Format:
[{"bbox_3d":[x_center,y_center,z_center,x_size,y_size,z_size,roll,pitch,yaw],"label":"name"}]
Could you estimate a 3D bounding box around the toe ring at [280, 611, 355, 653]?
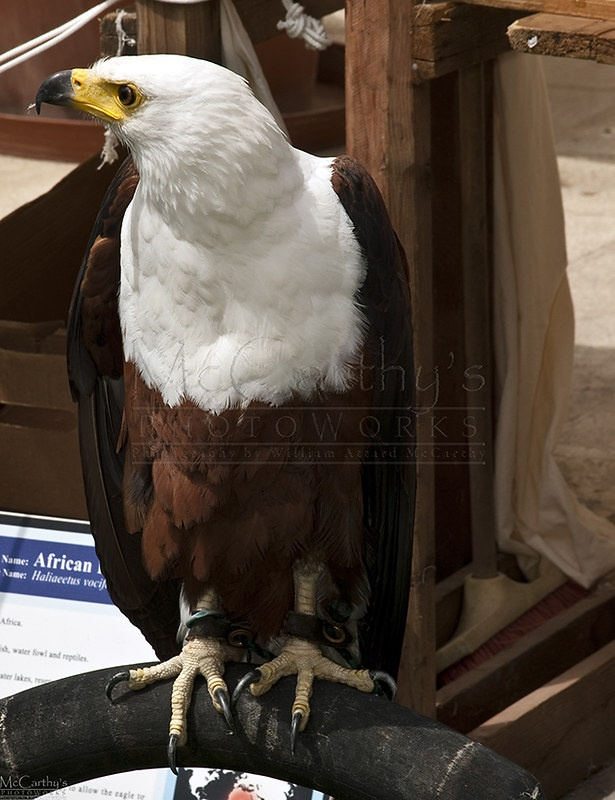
[{"bbox_3d":[0.026,0.460,2.269,0.080,0.034,0.131,9,-4,36],"label":"toe ring"}]
